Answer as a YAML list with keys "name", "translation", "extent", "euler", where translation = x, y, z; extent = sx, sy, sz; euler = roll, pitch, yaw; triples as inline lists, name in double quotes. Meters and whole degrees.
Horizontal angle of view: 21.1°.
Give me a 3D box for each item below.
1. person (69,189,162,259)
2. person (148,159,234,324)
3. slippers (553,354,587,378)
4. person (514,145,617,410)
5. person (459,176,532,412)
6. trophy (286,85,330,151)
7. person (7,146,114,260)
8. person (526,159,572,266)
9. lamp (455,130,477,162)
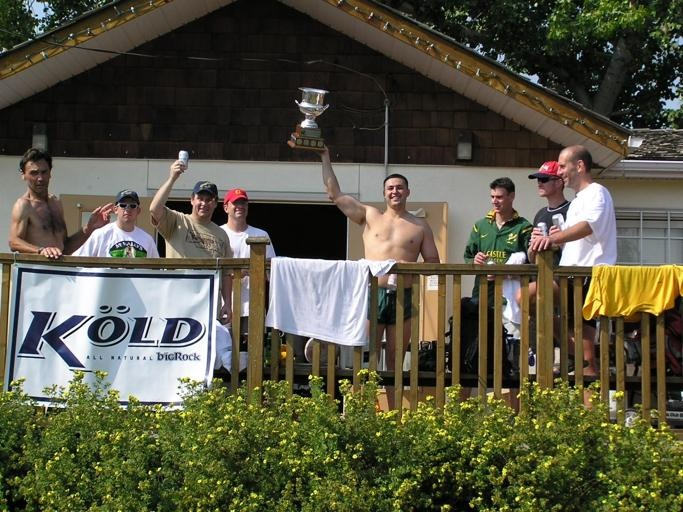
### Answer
- name: "person"
  translation: [-2.617, -0.283, 22.065]
  extent: [1.135, 1.002, 0.559]
  euler: [6, -12, -25]
- name: "person"
  translation: [-1.770, 0.091, 21.719]
  extent: [0.854, 2.083, 1.226]
  euler: [-12, -20, 42]
- name: "slippers"
  translation: [2.586, 1.312, 21.232]
  extent: [0.303, 0.224, 0.106]
  euler: [0, 8, -21]
- name: "person"
  translation: [2.754, 0.176, 21.299]
  extent: [0.862, 3.091, 1.210]
  euler: [-4, -7, 38]
- name: "person"
  translation: [1.804, 0.442, 21.952]
  extent: [0.838, 2.719, 0.785]
  euler: [7, 13, 21]
- name: "trophy"
  translation: [-0.388, -1.642, 22.148]
  extent: [0.418, 0.848, 0.626]
  euler: [1, -6, -1]
- name: "person"
  translation: [-3.319, -0.498, 21.606]
  extent: [0.908, 1.465, 0.954]
  euler: [4, -1, 8]
- name: "person"
  translation: [2.553, -0.530, 22.088]
  extent: [0.423, 1.257, 0.456]
  euler: [-5, 5, -28]
- name: "lamp"
  translation: [1.645, -1.461, 24.442]
  extent: [0.232, 0.416, 0.078]
  euler: [1, -6, 2]
